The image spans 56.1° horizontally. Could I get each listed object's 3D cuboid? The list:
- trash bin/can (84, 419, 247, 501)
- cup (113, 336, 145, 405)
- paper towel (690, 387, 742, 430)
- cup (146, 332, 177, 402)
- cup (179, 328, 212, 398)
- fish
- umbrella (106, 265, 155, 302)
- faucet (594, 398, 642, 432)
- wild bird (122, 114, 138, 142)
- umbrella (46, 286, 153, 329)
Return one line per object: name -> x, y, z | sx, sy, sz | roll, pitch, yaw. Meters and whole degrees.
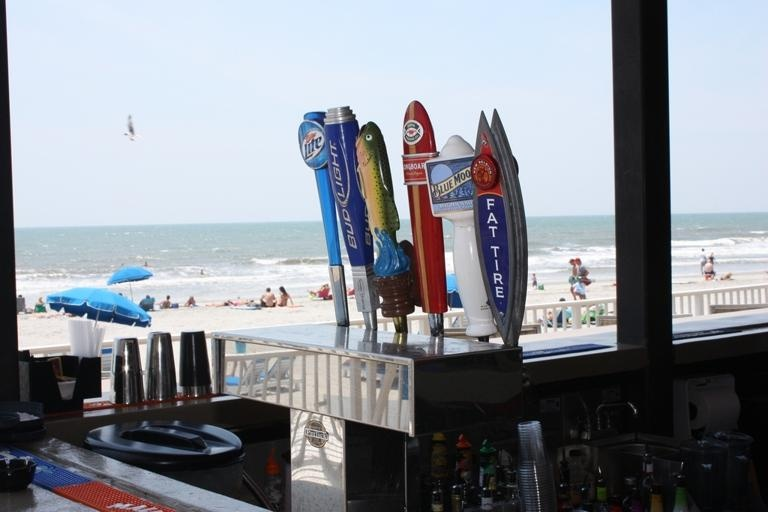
trash bin/can -> -0.627, 0.519, 2.064 | 0.316, 0.263, 0.246 | 3, 5, -17
cup -> -0.922, 0.412, 2.604 | 0.109, 0.230, 0.164 | 1, -4, -21
paper towel -> 1.379, 0.660, 3.119 | 0.218, 0.174, 0.283 | 4, -1, 45
cup -> -0.812, 0.401, 2.626 | 0.107, 0.243, 0.110 | -1, -4, 0
cup -> -0.694, 0.392, 2.642 | 0.113, 0.235, 0.124 | -1, -4, 0
fish -> -0.016, -0.194, 1.869 | 0.105, 0.303, 0.057 | -1, -4, -1
umbrella -> -6.179, 0.721, 17.723 | 1.027, 0.835, 1.047 | 6, 12, 39
faucet -> 0.955, 0.660, 2.951 | 0.207, 0.123, 0.053 | 1, -4, -28
wild bird -> -9.874, -5.062, 28.117 | 0.447, 0.920, 1.293 | 1, -4, -20
umbrella -> -4.834, 0.910, 12.270 | 1.468, 0.465, 1.436 | 23, -8, -29
